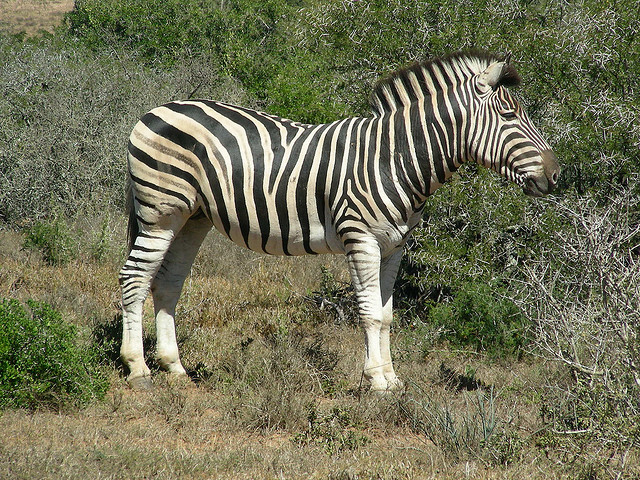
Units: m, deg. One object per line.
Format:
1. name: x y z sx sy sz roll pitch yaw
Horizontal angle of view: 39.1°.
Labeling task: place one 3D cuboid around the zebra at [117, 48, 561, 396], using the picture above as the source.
1. zebra: 0.417 -0.061 11.693 3.821 3.580 1.320 3 -3 13
